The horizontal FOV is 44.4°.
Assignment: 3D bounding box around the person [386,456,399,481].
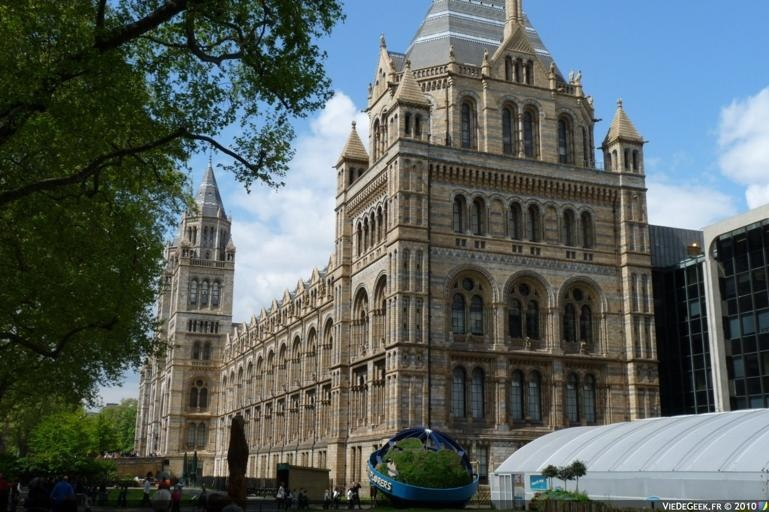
[{"bbox_3d":[0.456,10.996,48.926,0.894,1.155,0.259,-20,-33,39],"label":"person"}]
